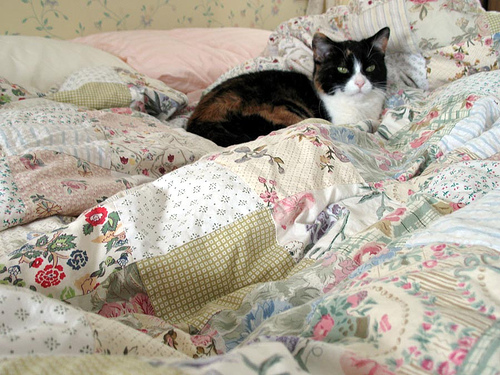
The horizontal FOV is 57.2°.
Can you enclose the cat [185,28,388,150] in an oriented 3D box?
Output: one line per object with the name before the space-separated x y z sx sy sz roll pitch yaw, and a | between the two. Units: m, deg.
cat | 0.196 -0.299 1.984 0.795 0.426 0.492 -20 33 8
